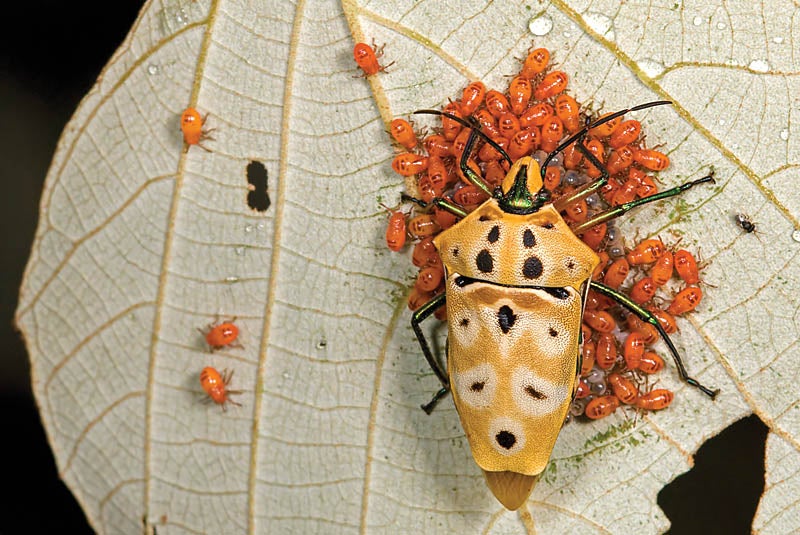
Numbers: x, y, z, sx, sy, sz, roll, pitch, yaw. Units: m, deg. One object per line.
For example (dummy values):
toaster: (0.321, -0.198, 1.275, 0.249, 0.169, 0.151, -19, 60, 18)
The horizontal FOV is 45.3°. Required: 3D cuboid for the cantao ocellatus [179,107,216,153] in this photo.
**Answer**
cantao ocellatus: (-1.783, -1.223, 8.487, 0.276, 0.090, 0.340, -4, 106, 2)
